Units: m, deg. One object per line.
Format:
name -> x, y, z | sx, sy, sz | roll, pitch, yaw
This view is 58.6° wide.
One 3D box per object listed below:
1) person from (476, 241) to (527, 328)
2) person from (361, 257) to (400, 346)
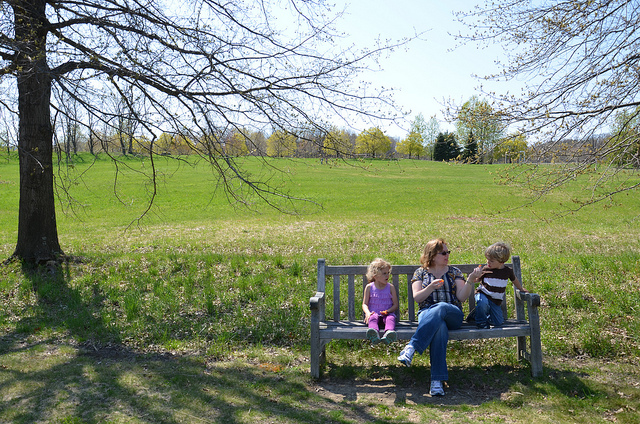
person -> 3.983, 1.615, 12.835 | 0.929, 1.882, 0.612 | 1, 4, 6
person -> 1.352, 1.972, 12.823 | 0.786, 1.770, 1.083 | 1, 4, 6
